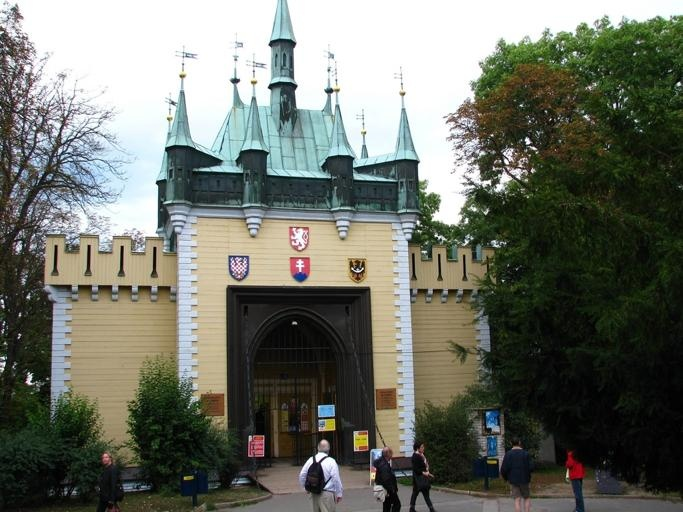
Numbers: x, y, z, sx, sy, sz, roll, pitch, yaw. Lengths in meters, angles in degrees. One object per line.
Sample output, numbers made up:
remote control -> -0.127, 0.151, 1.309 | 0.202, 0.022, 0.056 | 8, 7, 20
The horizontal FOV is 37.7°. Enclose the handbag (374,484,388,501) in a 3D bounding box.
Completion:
handbag -> 0.928, 5.632, 24.000 | 0.317, 0.458, 0.394 | -2, -1, 23

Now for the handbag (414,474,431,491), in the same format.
handbag -> 2.038, 5.688, 25.303 | 0.408, 0.408, 0.178 | 3, -10, -12

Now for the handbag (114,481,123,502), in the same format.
handbag -> -5.304, 5.579, 23.821 | 0.194, 0.562, 0.388 | 0, -17, -11
